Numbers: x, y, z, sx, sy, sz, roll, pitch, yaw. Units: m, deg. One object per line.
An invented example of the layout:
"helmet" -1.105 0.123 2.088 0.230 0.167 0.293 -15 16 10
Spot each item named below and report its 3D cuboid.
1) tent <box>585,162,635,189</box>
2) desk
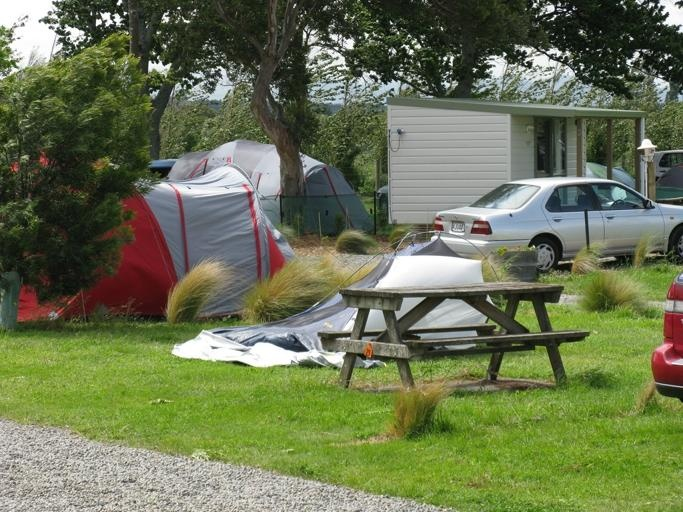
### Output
"tent" 7.276 -2.208 30.590 1.119 0.544 1.723 5 -1 30
"desk" 1.101 0.734 12.786 1.717 0.827 1.477 -2 3 -30
